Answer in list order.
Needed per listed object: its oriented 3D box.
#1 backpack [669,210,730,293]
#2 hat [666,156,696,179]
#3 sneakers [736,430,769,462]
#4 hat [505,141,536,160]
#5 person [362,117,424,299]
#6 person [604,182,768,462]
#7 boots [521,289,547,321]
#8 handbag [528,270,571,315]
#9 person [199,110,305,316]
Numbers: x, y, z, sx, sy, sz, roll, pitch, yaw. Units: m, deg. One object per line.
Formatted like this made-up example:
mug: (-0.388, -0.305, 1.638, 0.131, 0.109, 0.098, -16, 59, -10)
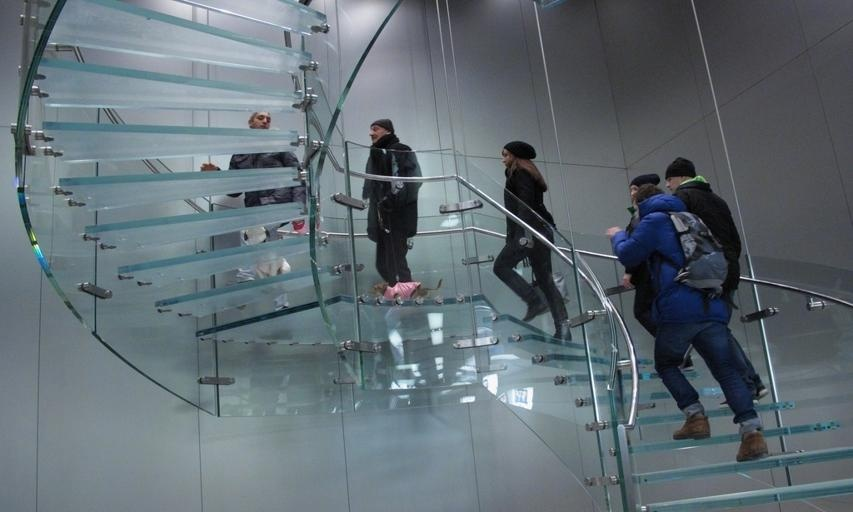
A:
backpack: (2.232, -0.012, 5.147, 0.618, 0.597, 0.375, 20, -26, -37)
hat: (2.491, -0.891, 6.157, 0.258, 0.206, 0.318, -1, 6, -5)
sneakers: (2.524, 1.503, 4.865, 0.184, 0.182, 0.310, -5, -3, 7)
hat: (0.963, -1.100, 6.439, 0.279, 0.128, 0.231, 2, 7, 5)
person: (-0.337, -0.459, 5.671, 0.590, 1.499, 0.457, -4, -6, -17)
person: (2.119, 0.564, 5.113, 0.897, 2.233, 0.241, -7, -6, 21)
boots: (0.931, 0.481, 5.617, 0.285, 0.183, 0.090, -30, 5, -27)
handbag: (1.079, 0.314, 5.402, 0.105, 0.272, 0.258, -8, 6, -44)
person: (-1.715, -0.572, 6.403, 0.898, 2.249, 1.470, -3, -6, -25)
